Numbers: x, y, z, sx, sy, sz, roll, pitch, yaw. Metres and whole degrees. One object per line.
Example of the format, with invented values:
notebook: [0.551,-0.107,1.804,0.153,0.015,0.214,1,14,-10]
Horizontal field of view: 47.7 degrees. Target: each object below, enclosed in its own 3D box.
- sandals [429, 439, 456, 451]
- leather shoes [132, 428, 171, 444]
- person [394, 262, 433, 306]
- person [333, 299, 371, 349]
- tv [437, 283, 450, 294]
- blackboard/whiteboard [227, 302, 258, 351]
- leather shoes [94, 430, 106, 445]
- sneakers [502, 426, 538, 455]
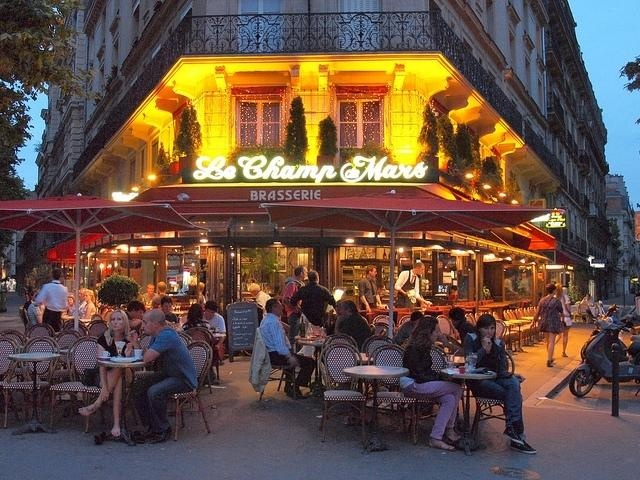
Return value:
sandals: [1.897,3.163,11.315,0.416,0.195,0.150,-4,6,25]
leather shoes: [-2.670,3.125,11.482,0.563,0.295,0.229,-3,-2,12]
person: [2.662,1.242,20.961,0.773,2.007,0.859,15,-21,-42]
person: [0.580,1.763,14.326,0.658,1.357,0.569,1,24,4]
tv: [3.899,1.534,22.812,0.045,0.392,0.771,9,14,36]
blackboard/whiteboard: [-1.934,2.175,18.197,0.949,1.822,0.635,1,-8,-9]
leather shoes: [-3.438,3.102,11.350,0.190,0.156,0.293,-1,12,-11]
sneakers: [3.098,3.091,11.233,0.493,0.307,0.284,5,12,20]
